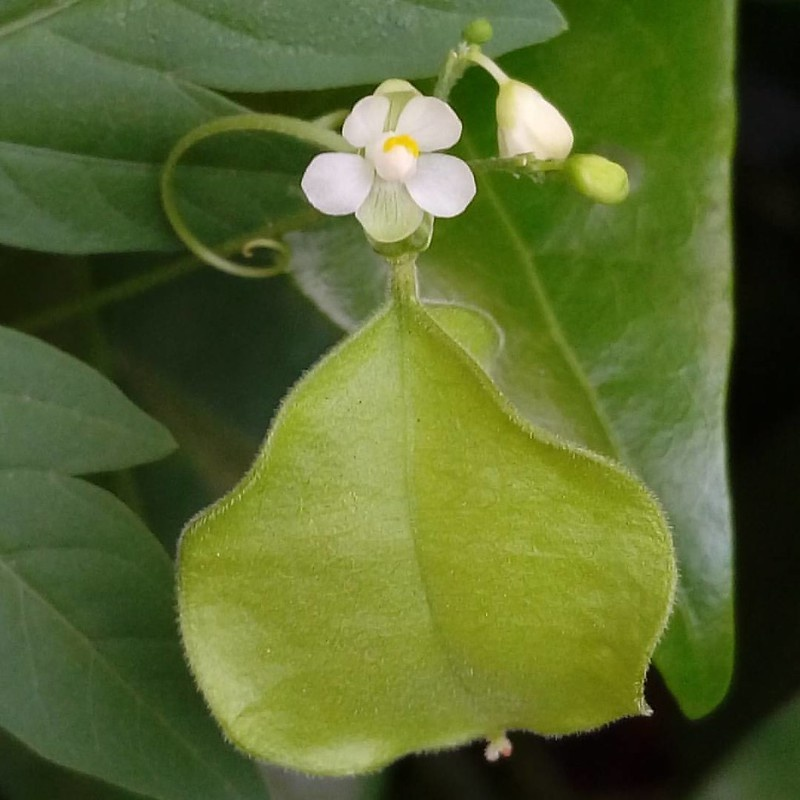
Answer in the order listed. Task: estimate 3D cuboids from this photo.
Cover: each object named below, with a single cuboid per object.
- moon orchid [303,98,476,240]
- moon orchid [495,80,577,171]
[{"bbox_3d":[-0.004,-0.171,0.931,0.116,0.049,0.114,-3,94,1],"label":"moon orchid"},{"bbox_3d":[0.106,-0.214,0.908,0.056,0.028,0.075,-27,96,13],"label":"moon orchid"}]
